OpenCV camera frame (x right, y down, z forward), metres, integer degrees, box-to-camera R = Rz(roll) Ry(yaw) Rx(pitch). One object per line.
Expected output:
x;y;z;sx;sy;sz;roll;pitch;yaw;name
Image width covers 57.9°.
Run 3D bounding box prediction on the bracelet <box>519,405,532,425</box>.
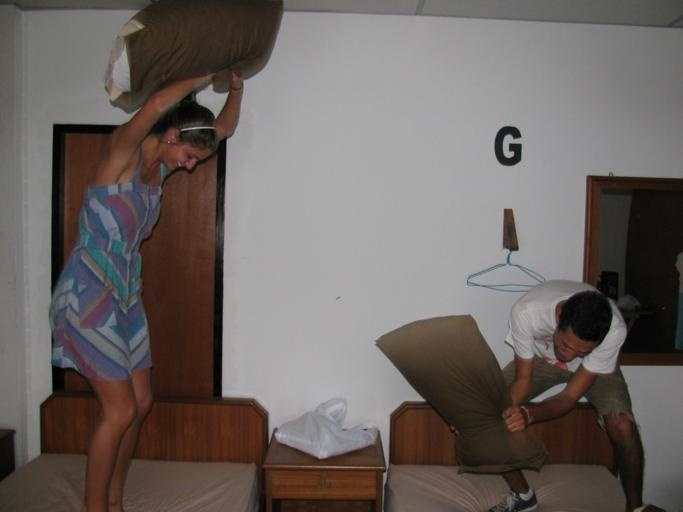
0.931;0.810;3.146;0.030;0.091;0.074;-6;-11;-1;bracelet
